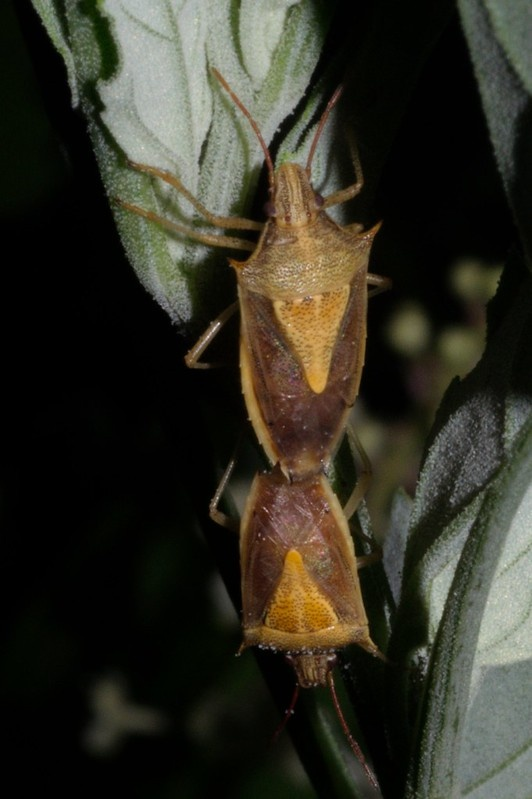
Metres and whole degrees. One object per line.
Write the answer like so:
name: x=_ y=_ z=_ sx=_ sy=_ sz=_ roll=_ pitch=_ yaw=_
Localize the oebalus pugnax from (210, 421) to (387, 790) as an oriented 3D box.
oebalus pugnax: x=0.055 y=0.317 z=1.316 sx=0.251 sy=0.518 sz=0.129 roll=-3 pitch=15 yaw=4
